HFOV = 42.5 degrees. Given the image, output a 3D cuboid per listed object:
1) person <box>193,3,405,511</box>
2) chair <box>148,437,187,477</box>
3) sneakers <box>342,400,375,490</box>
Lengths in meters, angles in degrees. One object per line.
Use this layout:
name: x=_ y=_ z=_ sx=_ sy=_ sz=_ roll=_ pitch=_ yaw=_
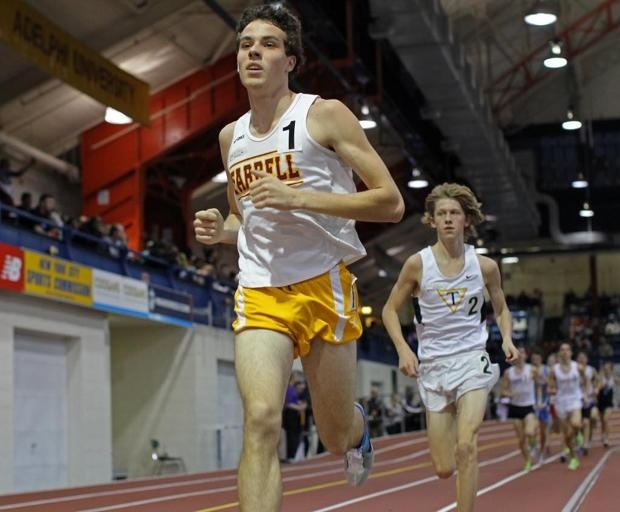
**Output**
person: x=-0.063 y=0.008 z=3.745 sx=0.933 sy=2.236 sz=0.999 roll=-1 pitch=-13 yaw=-12
chair: x=-2.940 y=4.117 z=16.275 sx=0.674 sy=0.883 sz=0.636 roll=-2 pitch=-8 yaw=5
sneakers: x=0.303 y=1.120 z=4.633 sx=0.186 sy=0.595 sz=0.227 roll=2 pitch=17 yaw=-6
